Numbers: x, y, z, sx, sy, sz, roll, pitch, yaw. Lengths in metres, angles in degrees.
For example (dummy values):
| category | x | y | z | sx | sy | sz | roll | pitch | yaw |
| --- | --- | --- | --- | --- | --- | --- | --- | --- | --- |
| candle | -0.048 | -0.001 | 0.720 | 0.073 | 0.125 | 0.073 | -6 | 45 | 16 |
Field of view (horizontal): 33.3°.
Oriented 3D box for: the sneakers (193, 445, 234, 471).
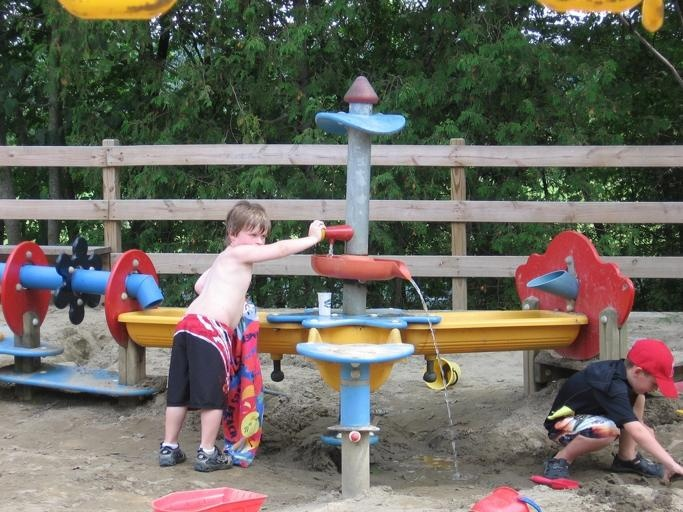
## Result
| category | x | y | z | sx | sy | sz | roll | pitch | yaw |
| --- | --- | --- | --- | --- | --- | --- | --- | --- | --- |
| sneakers | -1.081 | 1.701 | 9.621 | 0.347 | 0.199 | 0.143 | 0 | 2 | -31 |

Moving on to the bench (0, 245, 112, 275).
| category | x | y | z | sx | sy | sz | roll | pitch | yaw |
| --- | --- | --- | --- | --- | --- | --- | --- | --- | --- |
| bench | -3.255 | 0.022 | 12.887 | 1.305 | 0.273 | 0.733 | 0 | 2 | 15 |

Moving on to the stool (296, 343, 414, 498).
| category | x | y | z | sx | sy | sz | roll | pitch | yaw |
| --- | --- | --- | --- | --- | --- | --- | --- | --- | --- |
| stool | -0.202 | 1.277 | 9.465 | 1.051 | 1.232 | 1.151 | 0 | 1 | -18 |

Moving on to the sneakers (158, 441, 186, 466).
| category | x | y | z | sx | sy | sz | roll | pitch | yaw |
| --- | --- | --- | --- | --- | --- | --- | --- | --- | --- |
| sneakers | -1.433 | 1.670 | 9.661 | 0.114 | 0.135 | 0.283 | 1 | 0 | 13 |

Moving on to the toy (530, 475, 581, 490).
| category | x | y | z | sx | sy | sz | roll | pitch | yaw |
| --- | --- | --- | --- | --- | --- | --- | --- | --- | --- |
| toy | 1.755 | 1.855 | 9.375 | 0.127 | 0.052 | 0.248 | 11 | -8 | -35 |

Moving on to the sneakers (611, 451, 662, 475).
| category | x | y | z | sx | sy | sz | roll | pitch | yaw |
| --- | --- | --- | --- | --- | --- | --- | --- | --- | --- |
| sneakers | 2.487 | 1.733 | 9.551 | 0.367 | 0.140 | 0.158 | 0 | -3 | 11 |

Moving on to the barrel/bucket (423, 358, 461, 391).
| category | x | y | z | sx | sy | sz | roll | pitch | yaw |
| --- | --- | --- | --- | --- | --- | --- | --- | --- | --- |
| barrel/bucket | 0.879 | 1.019 | 9.944 | 0.242 | 0.265 | 0.191 | 1 | 3 | 37 |

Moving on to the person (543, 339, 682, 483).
| category | x | y | z | sx | sy | sz | roll | pitch | yaw |
| --- | --- | --- | --- | --- | --- | --- | --- | --- | --- |
| person | 2.324 | 1.263 | 9.821 | 1.257 | 1.090 | 0.966 | 1 | 2 | 30 |

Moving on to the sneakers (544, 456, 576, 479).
| category | x | y | z | sx | sy | sz | roll | pitch | yaw |
| --- | --- | --- | --- | --- | --- | --- | --- | --- | --- |
| sneakers | 1.787 | 1.752 | 9.488 | 0.207 | 0.152 | 0.194 | 0 | 2 | 8 |

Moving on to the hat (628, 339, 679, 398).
| category | x | y | z | sx | sy | sz | roll | pitch | yaw |
| --- | --- | --- | --- | --- | --- | --- | --- | --- | --- |
| hat | 2.599 | 0.893 | 9.538 | 0.507 | 0.281 | 0.327 | 37 | 11 | 9 |

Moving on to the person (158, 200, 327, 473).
| category | x | y | z | sx | sy | sz | roll | pitch | yaw |
| --- | --- | --- | --- | --- | --- | --- | --- | --- | --- |
| person | -0.968 | 0.662 | 9.678 | 1.180 | 2.238 | 0.428 | -1 | 3 | -10 |
